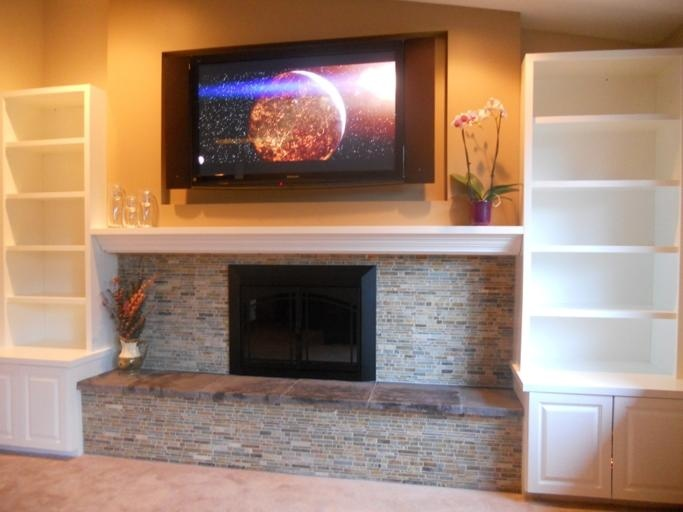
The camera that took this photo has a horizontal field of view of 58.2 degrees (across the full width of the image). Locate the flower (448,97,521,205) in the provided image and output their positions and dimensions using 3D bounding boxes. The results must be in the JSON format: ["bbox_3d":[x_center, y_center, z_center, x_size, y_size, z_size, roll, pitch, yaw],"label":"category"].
[{"bbox_3d":[1.034,-0.748,4.692,0.660,1.033,0.692,-1,-4,9],"label":"flower"}]

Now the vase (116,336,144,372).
[{"bbox_3d":[-1.659,0.788,4.911,0.200,0.285,0.286,-2,-5,30],"label":"vase"}]

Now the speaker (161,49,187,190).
[{"bbox_3d":[-1.304,-1.041,4.849,0.266,1.041,0.090,3,1,30],"label":"speaker"}]

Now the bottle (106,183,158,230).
[{"bbox_3d":[-1.682,-0.389,4.897,0.438,0.317,0.155,3,1,8],"label":"bottle"}]

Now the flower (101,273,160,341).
[{"bbox_3d":[-1.677,0.384,5.133,0.463,0.571,0.540,4,2,-5],"label":"flower"}]

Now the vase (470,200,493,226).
[{"bbox_3d":[1.006,-0.298,4.406,0.166,0.181,0.165,2,-3,-22],"label":"vase"}]
